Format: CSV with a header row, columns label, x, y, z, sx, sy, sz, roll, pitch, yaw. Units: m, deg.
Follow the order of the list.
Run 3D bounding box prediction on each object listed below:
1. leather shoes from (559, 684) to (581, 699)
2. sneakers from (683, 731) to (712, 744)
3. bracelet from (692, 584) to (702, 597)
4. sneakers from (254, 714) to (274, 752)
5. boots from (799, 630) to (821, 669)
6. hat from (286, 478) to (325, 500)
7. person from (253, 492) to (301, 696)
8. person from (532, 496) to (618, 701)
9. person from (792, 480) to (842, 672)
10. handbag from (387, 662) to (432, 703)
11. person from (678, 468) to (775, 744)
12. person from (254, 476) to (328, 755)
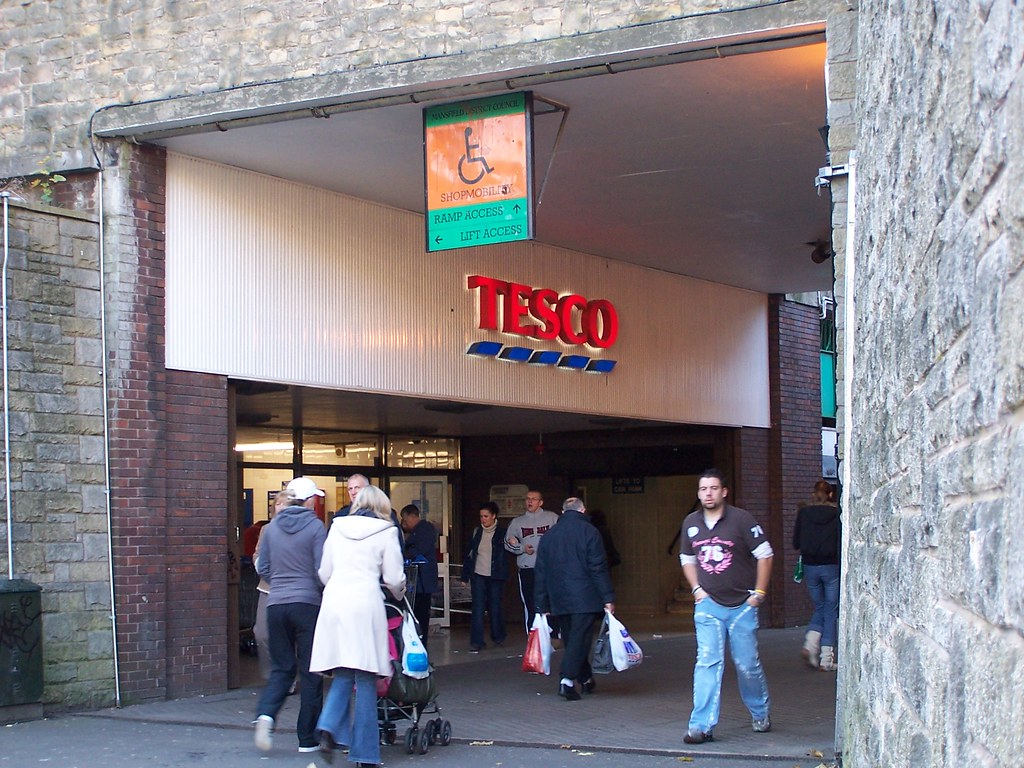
label,x,y,z,sx,sy,sz,roll,pitch,yaw
leather shoes,0.559,2.866,12.078,0.188,0.171,0.228,-1,-4,-6
sneakers,1.407,2.659,9.668,0.236,0.104,0.083,16,-19,-37
bracelet,1.434,1.574,9.798,0.078,0.090,0.127,-2,-4,5
sneakers,-1.743,2.465,8.960,0.114,0.325,0.134,1,25,-1
boots,3.399,2.970,14.489,0.195,0.404,0.340,-3,-4,13
hat,-1.546,0.829,9.665,0.183,0.143,0.252,6,12,41
person,-2.158,1.918,12.443,0.629,2.165,0.617,5,32,-5
person,0.588,2.021,12.082,0.774,1.852,0.500,-3,-4,16
person,3.498,2.151,14.573,0.524,2.093,1.236,-3,-4,12
handbag,-0.721,2.145,9.245,0.312,0.335,0.213,4,-10,-11
person,1.669,1.692,9.933,0.696,2.045,0.783,-2,-4,10
person,-1.584,1.682,9.445,0.682,1.901,0.626,5,-9,-32
